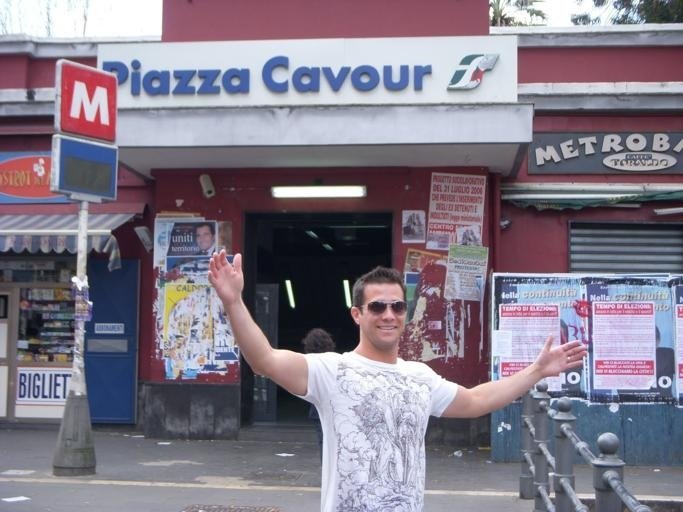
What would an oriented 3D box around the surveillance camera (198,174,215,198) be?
[{"bbox_3d":[-2.462,-1.262,23.072,0.279,0.458,0.169,-2,9,-9],"label":"surveillance camera"}]
